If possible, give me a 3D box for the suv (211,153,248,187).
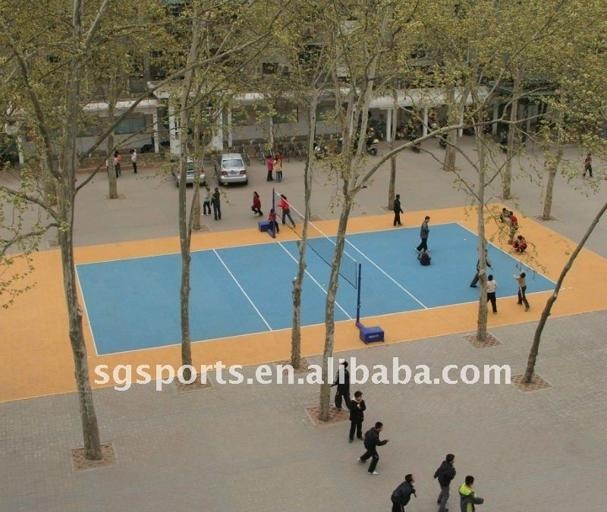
[{"bbox_3d":[-4.559,-5.471,40.961,1.996,1.869,1.891,-5,16,-8],"label":"suv"}]

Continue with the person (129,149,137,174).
[{"bbox_3d":[-11.202,-6.199,42.510,0.459,0.651,1.679,0,-14,-12],"label":"person"}]
